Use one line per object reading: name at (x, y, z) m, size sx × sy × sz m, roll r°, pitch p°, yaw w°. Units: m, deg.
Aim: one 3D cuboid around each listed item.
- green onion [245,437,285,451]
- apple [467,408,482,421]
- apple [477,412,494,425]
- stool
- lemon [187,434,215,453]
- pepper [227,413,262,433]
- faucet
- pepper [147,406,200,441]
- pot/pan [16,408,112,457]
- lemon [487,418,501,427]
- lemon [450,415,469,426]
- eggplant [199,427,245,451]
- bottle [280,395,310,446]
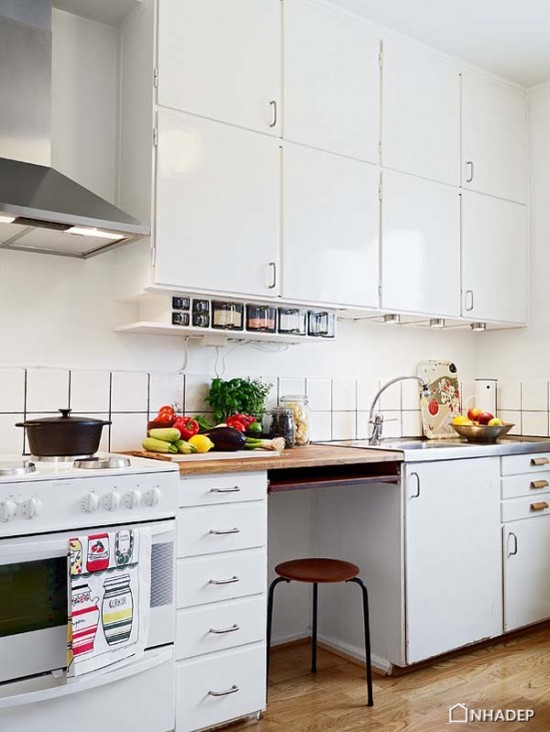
green onion at (-0.042, 0.288, 2.247) m, size 0.092 × 0.057 × 0.065 m, roll 0°, pitch 2°, yaw 15°
apple at (0.970, 0.241, 2.989) m, size 0.053 × 0.066 × 0.055 m, roll -10°, pitch 2°, yaw -6°
apple at (1.005, 0.258, 2.928) m, size 0.056 × 0.072 × 0.059 m, roll -5°, pitch -16°, yaw 6°
stool at (0.140, 0.935, 2.088) m, size 0.349 × 0.485 × 0.350 m, roll -1°, pitch -1°, yaw 29°
lemon at (-0.246, 0.259, 2.014) m, size 0.064 × 0.054 × 0.052 m, roll -3°, pitch -18°, yaw -9°
pepper at (-0.113, 0.226, 2.280) m, size 0.108 × 0.050 × 0.067 m, roll 27°, pitch 37°, yaw 15°
faucet at (0.574, 0.194, 2.882) m, size 0.238 × 0.347 × 0.604 m, roll -2°, pitch -6°, yaw 17°
pepper at (-0.341, 0.193, 2.111) m, size 0.106 × 0.090 × 0.139 m, roll 9°, pitch 5°, yaw -30°
pot/pan at (-0.602, 0.176, 1.731) m, size 0.202 × 0.100 × 0.152 m, roll 4°, pitch -9°, yaw -34°
lemon at (1.030, 0.267, 2.887) m, size 0.044 × 0.047 × 0.045 m, roll 9°, pitch 8°, yaw 37°
lemon at (0.901, 0.271, 2.998) m, size 0.063 × 0.076 × 0.059 m, roll -4°, pitch -6°, yaw -2°
eggplant at (-0.180, 0.249, 2.078) m, size 0.129 × 0.067 × 0.064 m, roll 1°, pitch -12°, yaw 11°
bottle at (0.070, 0.252, 2.545) m, size 0.135 × 0.235 × 0.142 m, roll 3°, pitch -24°, yaw 1°
